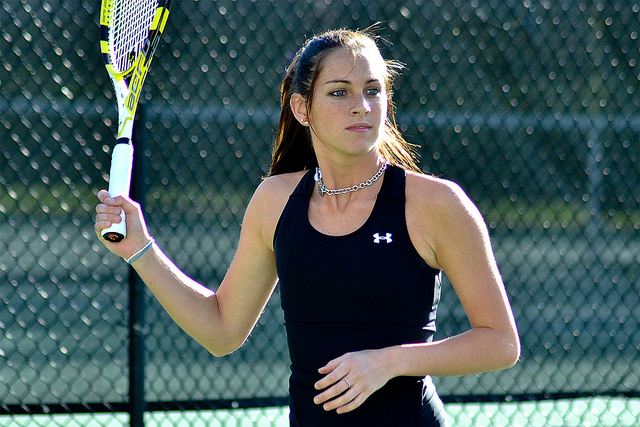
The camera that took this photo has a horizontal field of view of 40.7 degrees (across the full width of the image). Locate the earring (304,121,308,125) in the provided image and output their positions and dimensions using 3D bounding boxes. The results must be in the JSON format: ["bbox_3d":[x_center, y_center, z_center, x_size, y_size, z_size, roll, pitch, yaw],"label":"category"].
[{"bbox_3d":[-0.087,-0.580,5.477,0.015,0.020,0.018,2,-2,-7],"label":"earring"}]
